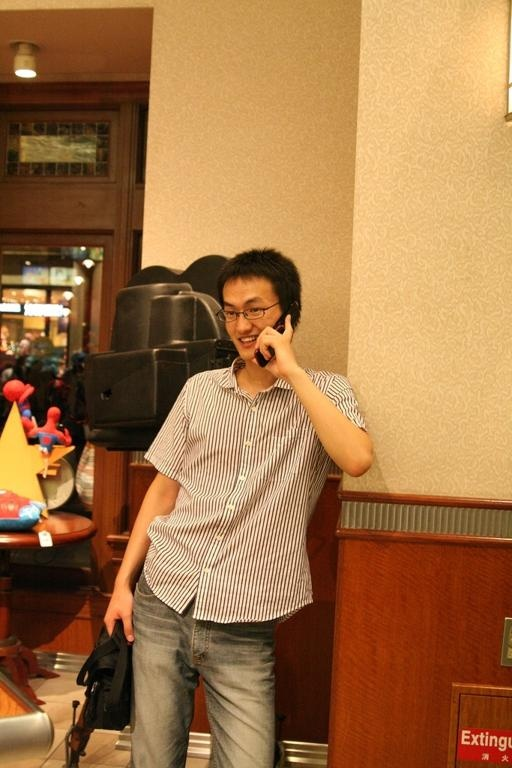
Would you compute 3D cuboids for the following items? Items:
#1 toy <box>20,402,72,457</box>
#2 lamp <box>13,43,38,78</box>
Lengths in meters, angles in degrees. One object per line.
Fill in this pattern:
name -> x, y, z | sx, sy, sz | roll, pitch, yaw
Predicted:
toy -> -0.970, 0.231, 2.917 | 0.203, 0.229, 0.085 | 20, -44, -20
lamp -> -1.168, -1.634, 3.237 | 0.136, 0.190, 0.132 | -11, 36, -29
